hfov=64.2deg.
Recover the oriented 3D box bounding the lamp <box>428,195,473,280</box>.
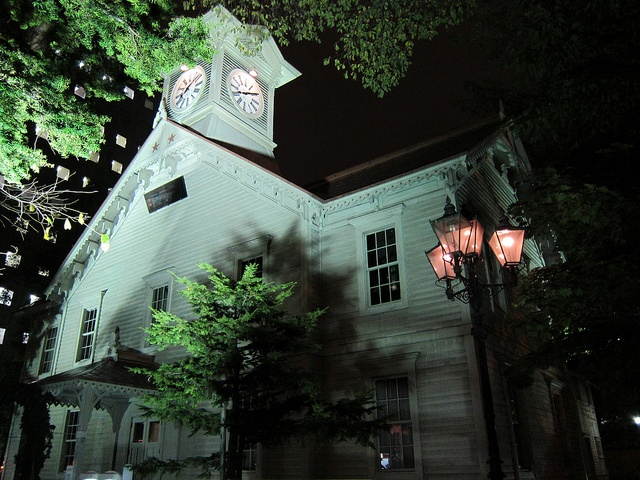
[{"bbox_3d":[2.714,-0.121,10.460,0.920,1.561,0.855,-4,-19,4],"label":"lamp"}]

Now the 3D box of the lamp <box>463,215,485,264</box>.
[{"bbox_3d":[3.124,0.000,10.196,0.383,0.857,0.408,13,-31,-25],"label":"lamp"}]
